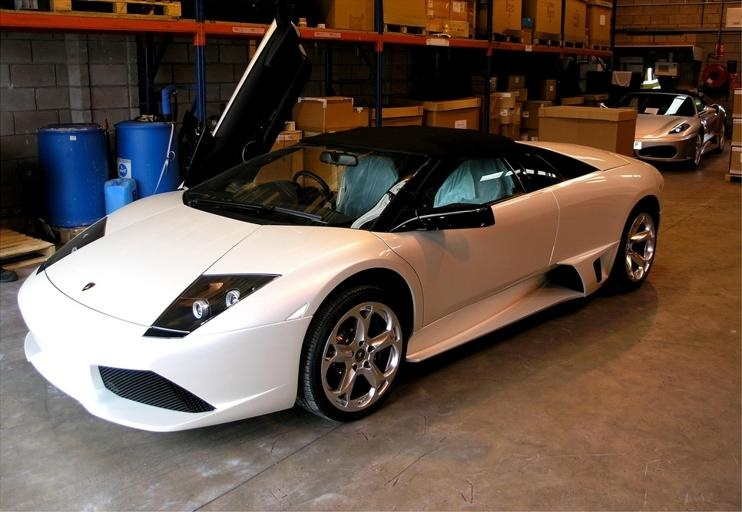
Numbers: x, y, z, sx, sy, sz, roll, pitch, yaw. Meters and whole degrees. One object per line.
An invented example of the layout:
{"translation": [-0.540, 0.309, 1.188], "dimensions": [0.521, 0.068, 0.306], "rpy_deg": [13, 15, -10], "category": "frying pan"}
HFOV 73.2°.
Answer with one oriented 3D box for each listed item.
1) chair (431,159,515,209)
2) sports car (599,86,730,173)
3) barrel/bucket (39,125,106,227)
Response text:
{"translation": [0.749, -0.530, 3.722], "dimensions": [0.785, 0.271, 0.530], "rpy_deg": [-18, 14, -30], "category": "chair"}
{"translation": [7.343, -3.102, 11.958], "dimensions": [2.205, 1.263, 3.919], "rpy_deg": [8, 17, 37], "category": "sports car"}
{"translation": [-3.721, -0.999, 6.164], "dimensions": [0.679, 1.139, 0.707], "rpy_deg": [7, 16, -2], "category": "barrel/bucket"}
